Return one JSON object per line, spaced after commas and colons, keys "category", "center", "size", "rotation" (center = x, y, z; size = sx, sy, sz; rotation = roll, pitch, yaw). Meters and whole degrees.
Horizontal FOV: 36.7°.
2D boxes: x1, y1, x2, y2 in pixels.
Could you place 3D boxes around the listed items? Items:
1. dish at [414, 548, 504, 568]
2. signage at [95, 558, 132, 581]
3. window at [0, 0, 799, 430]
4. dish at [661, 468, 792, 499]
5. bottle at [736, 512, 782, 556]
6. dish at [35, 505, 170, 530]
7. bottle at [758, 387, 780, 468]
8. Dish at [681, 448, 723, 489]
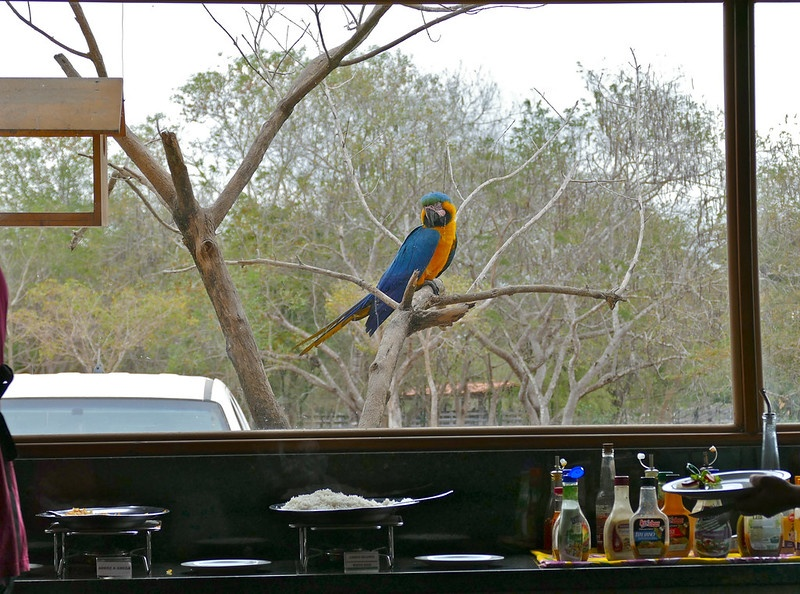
{"category": "dish", "center": [0.210, 0.911, 4.202], "size": [0.311, 0.041, 0.209], "rotation": [-4, -8, 4]}
{"category": "signage", "center": [-0.988, 0.911, 4.101], "size": [0.141, 0.066, 0.040], "rotation": [-6, -8, 20]}
{"category": "window", "center": [0.141, -0.275, 5.134], "size": [2.936, 1.774, 1.815], "rotation": [-4, -8, 6]}
{"category": "dish", "center": [1.131, 0.619, 3.983], "size": [0.424, 0.089, 0.494], "rotation": [3, -10, -35]}
{"category": "bottle", "center": [1.260, 0.786, 4.179], "size": [0.148, 0.205, 0.127], "rotation": [-5, 19, 9]}
{"category": "dish", "center": [-1.039, 0.762, 4.191], "size": [0.458, 0.079, 0.242], "rotation": [-1, -8, -12]}
{"category": "bottle", "center": [1.328, 0.467, 4.325], "size": [0.071, 0.291, 0.307], "rotation": [-5, -8, 17]}
{"category": "Dish", "center": [1.045, 0.586, 4.150], "size": [0.121, 0.129, 0.128], "rotation": [-4, -4, 31]}
